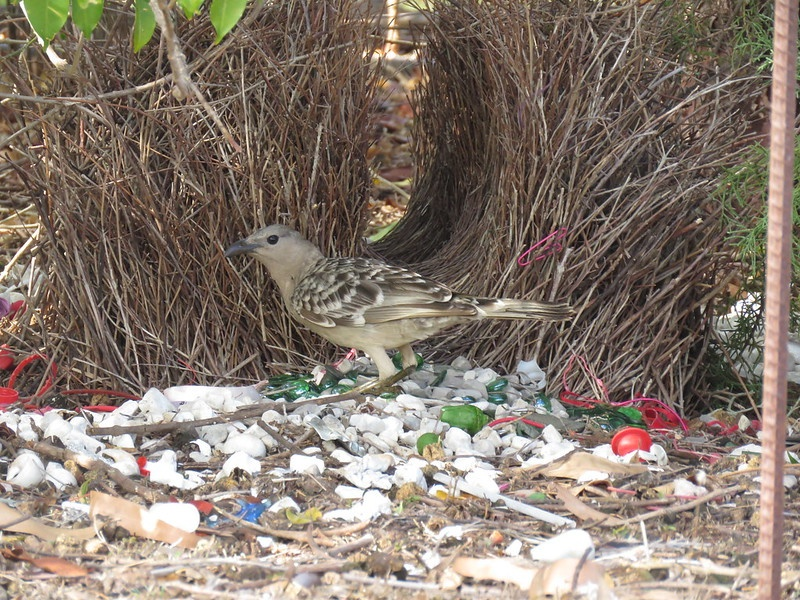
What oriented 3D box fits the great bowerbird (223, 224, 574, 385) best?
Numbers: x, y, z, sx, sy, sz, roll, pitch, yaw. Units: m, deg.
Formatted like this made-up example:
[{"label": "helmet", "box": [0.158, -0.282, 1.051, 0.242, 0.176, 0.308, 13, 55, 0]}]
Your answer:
[{"label": "great bowerbird", "box": [-0.003, 0.003, 3.759, 1.452, 0.628, 0.416, -1, 6, 17]}]
